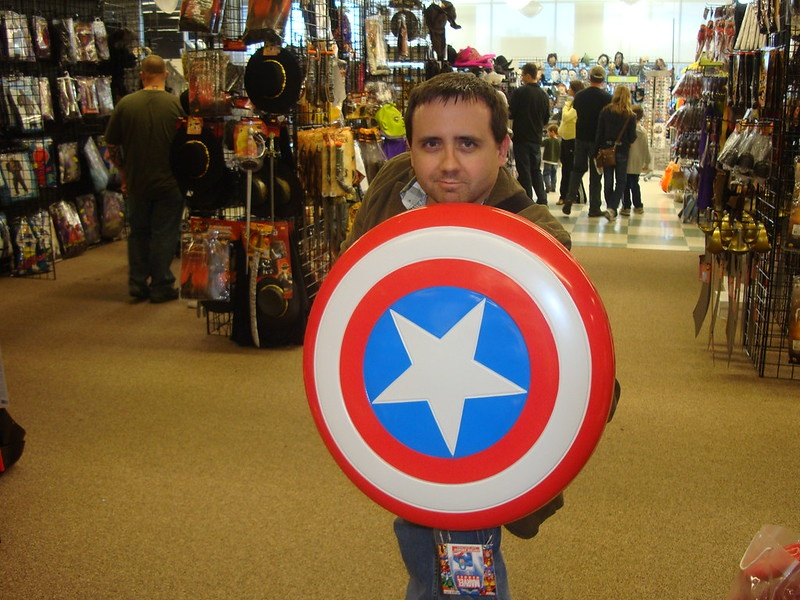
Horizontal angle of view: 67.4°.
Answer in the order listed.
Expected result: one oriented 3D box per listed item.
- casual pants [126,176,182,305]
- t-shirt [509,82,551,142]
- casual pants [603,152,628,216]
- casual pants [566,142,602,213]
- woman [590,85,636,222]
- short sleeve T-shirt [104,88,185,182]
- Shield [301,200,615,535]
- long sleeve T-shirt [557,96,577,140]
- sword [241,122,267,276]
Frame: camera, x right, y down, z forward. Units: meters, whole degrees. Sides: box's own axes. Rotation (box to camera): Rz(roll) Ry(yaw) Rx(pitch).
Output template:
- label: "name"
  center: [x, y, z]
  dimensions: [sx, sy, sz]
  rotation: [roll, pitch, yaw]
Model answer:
- label: "casual pants"
  center: [-2.252, -0.550, 5.464]
  dimensions: [0.385, 1.214, 0.299]
  rotation: [-1, -22, -19]
- label: "t-shirt"
  center: [1.892, -2.682, 8.666]
  dimensions: [0.544, 1.033, 0.461]
  rotation: [5, -6, 6]
- label: "casual pants"
  center: [3.117, -1.723, 8.743]
  dimensions: [0.253, 1.001, 0.226]
  rotation: [2, -13, 17]
- label: "casual pants"
  center: [2.759, -2.025, 9.006]
  dimensions: [0.404, 1.471, 0.326]
  rotation: [12, 40, 26]
- label: "woman"
  center: [3.046, -2.090, 8.562]
  dimensions: [0.401, 1.809, 0.806]
  rotation: [7, 22, 23]
- label: "short sleeve T-shirt"
  center: [-2.268, -1.516, 5.378]
  dimensions: [0.710, 0.902, 0.427]
  rotation: [-21, 47, -42]
- label: "Shield"
  center: [0.108, 0.118, 1.158]
  dimensions: [0.474, 0.623, 0.584]
  rotation: [11, 35, 12]
- label: "long sleeve T-shirt"
  center: [2.763, -2.993, 9.840]
  dimensions: [0.260, 0.647, 0.269]
  rotation: [1, 25, 4]
- label: "sword"
  center: [-0.971, -0.656, 3.908]
  dimensions: [0.218, 0.148, 1.402]
  rotation: [-4, 62, -7]
